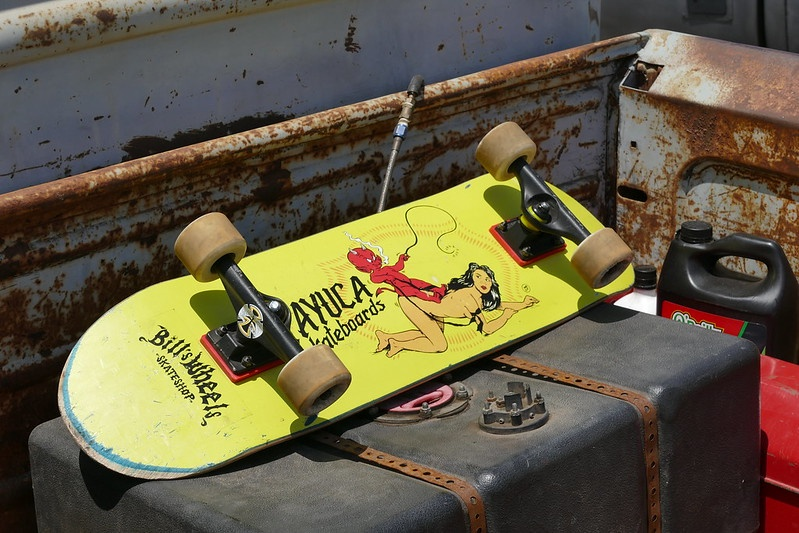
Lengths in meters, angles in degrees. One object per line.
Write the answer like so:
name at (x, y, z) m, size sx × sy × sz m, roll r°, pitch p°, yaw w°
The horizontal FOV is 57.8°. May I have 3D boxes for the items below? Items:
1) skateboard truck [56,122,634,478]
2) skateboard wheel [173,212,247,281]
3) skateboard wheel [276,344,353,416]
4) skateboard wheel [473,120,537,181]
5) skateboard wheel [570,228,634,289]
skateboard truck at (0.001, 0.142, 1.737) m, size 1.442 × 0.258 × 0.563 m, roll -23°, pitch 56°, yaw -31°
skateboard wheel at (-0.384, -0.035, 1.473) m, size 0.080 × 0.132 × 0.134 m, roll 45°, pitch 55°, yaw 14°
skateboard wheel at (-0.159, 0.214, 1.330) m, size 0.080 × 0.118 × 0.121 m, roll 42°, pitch 42°, yaw 24°
skateboard wheel at (0.256, -0.284, 1.758) m, size 0.120 × 0.092 × 0.119 m, roll 7°, pitch 70°, yaw -21°
skateboard wheel at (0.445, -0.014, 1.607) m, size 0.096 × 0.095 × 0.068 m, roll -33°, pitch 63°, yaw -19°
